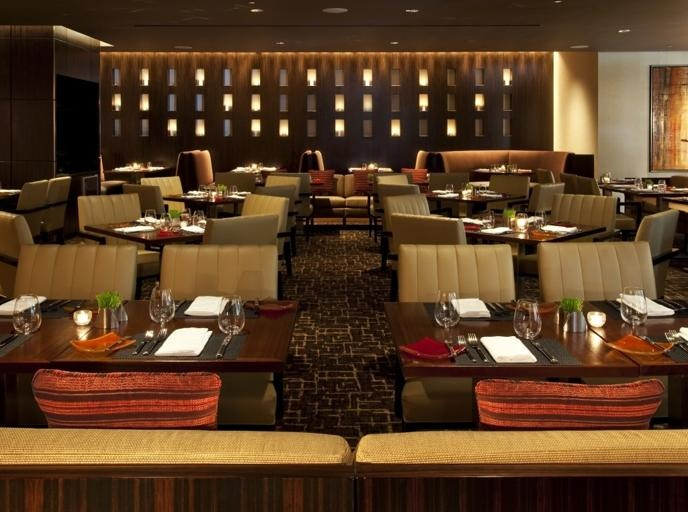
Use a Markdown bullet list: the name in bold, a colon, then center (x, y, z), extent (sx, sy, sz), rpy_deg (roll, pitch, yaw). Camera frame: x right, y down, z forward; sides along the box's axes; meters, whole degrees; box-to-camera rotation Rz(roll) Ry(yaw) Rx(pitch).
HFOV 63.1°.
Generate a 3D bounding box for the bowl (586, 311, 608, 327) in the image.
- **bowl**: center (1.085, 0.263, 2.412), extent (0.067, 0.053, 0.068), rpy_deg (-2, 9, 0)

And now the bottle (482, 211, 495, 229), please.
- **bottle**: center (1.317, -0.341, 5.113), extent (0.135, 0.201, 0.141), rpy_deg (-2, 2, 0)
